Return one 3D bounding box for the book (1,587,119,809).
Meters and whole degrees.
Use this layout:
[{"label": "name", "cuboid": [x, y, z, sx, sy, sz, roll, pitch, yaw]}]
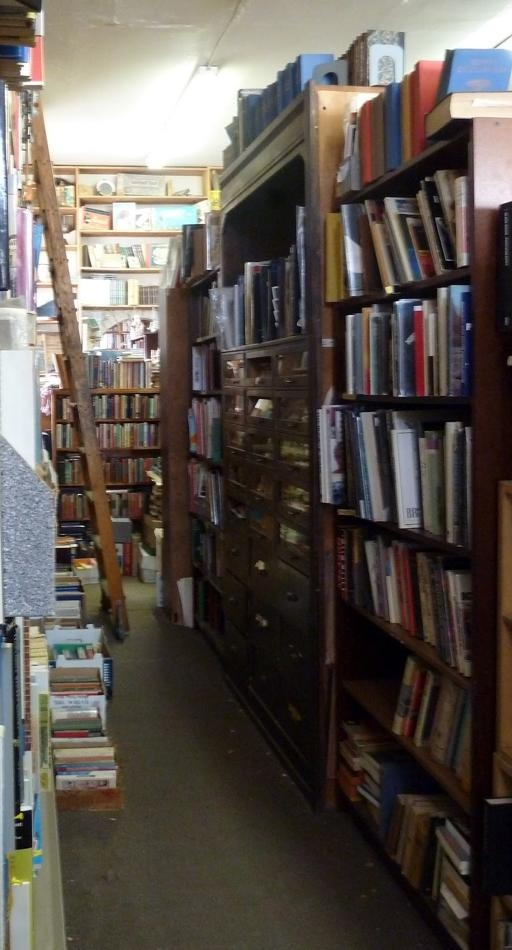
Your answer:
[{"label": "book", "cuboid": [-0.695, 0.840, 2.921, 0.596, 0.325, 0.936, 2, 11, -6]}]
